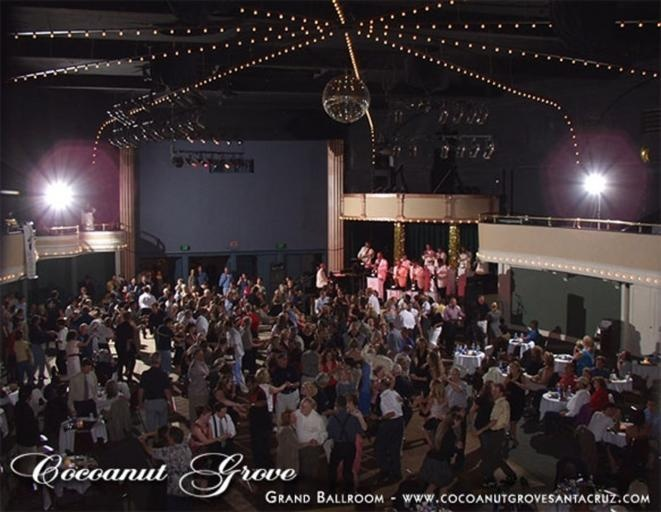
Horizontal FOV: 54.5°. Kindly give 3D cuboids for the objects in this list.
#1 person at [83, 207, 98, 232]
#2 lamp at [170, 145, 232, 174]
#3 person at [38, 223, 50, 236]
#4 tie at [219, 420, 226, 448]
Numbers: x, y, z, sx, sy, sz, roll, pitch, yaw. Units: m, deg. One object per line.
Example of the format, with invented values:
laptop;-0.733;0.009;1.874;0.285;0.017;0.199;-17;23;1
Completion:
person;-10.108;-1.585;26.861;0.459;0.986;1.291;1;1;-19
lamp;-5.787;-4.342;28.163;1.839;0.809;1.478;2;2;-7
person;-11.054;-1.033;24.645;0.381;0.455;0.686;9;3;-44
tie;-1.818;2.997;10.837;0.111;0.502;0.207;1;1;-10
